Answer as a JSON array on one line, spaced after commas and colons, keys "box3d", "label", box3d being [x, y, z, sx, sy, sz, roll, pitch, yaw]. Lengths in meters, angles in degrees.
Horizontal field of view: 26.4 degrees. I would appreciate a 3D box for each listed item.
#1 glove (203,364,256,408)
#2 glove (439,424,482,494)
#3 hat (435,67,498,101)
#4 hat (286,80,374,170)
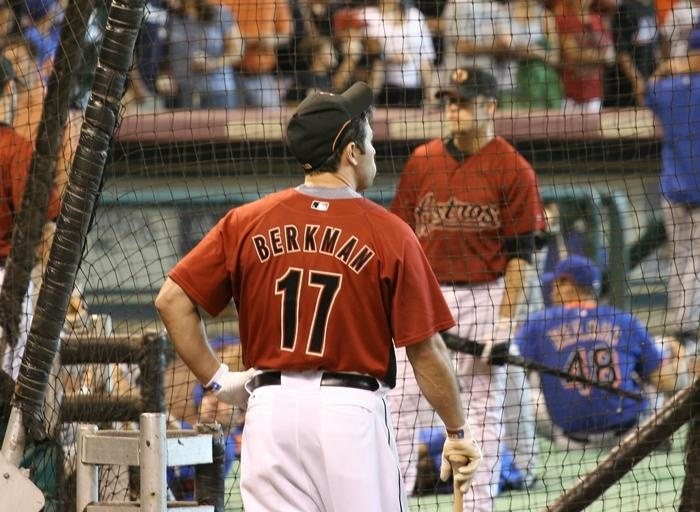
[{"box3d": [-0.696, 0.824, 9.404, 0.375, 0.308, 0.189, -2, 4, 25], "label": "glove"}, {"box3d": [0.692, 1.262, 9.394, 0.250, 0.460, 0.223, -3, 4, 4], "label": "glove"}, {"box3d": [0.905, -1.283, 11.320, 0.364, 0.221, 0.268, 20, -4, -33], "label": "hat"}, {"box3d": [-0.126, -0.805, 9.312, 0.548, 0.524, 0.176, -4, 4, -3], "label": "hat"}]
